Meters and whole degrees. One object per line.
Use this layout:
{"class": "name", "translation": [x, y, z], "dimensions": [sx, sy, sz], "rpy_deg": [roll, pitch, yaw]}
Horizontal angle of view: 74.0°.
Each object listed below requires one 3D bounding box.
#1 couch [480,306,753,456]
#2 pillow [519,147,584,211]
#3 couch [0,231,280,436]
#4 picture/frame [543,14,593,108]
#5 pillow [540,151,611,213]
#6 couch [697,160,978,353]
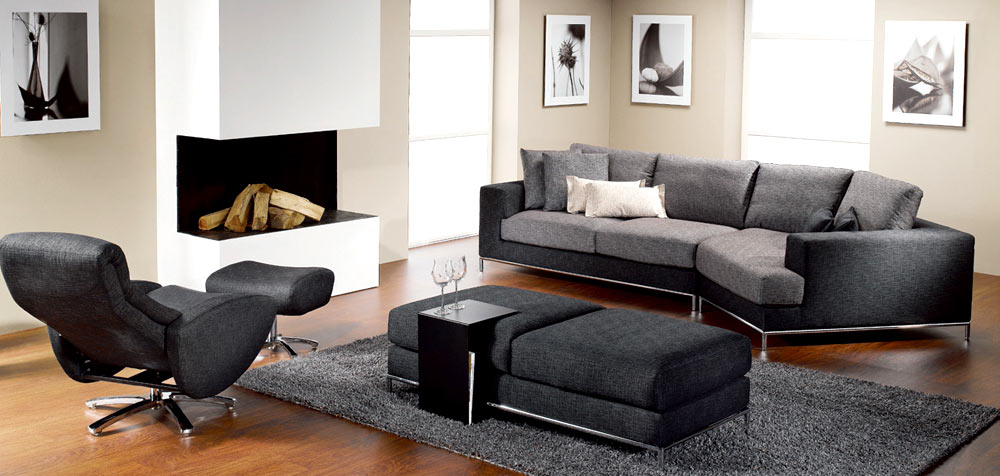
{"class": "couch", "translation": [1.027, 1.100, 5.443], "dimensions": [1.806, 0.723, 0.960], "rpy_deg": [7, 18, 25]}
{"class": "pillow", "translation": [0.677, -0.721, 8.368], "dimensions": [0.965, 0.745, 0.257], "rpy_deg": [-2, -3, 3]}
{"class": "couch", "translation": [-2.919, 0.548, 6.034], "dimensions": [1.698, 1.625, 2.150], "rpy_deg": [8, 12, 27]}
{"class": "picture/frame", "translation": [1.026, -2.679, 10.016], "dimensions": [1.034, 1.287, 0.319], "rpy_deg": [-17, 24, -42]}
{"class": "pillow", "translation": [0.939, -0.685, 8.307], "dimensions": [1.003, 0.736, 0.304], "rpy_deg": [0, -1, 1]}
{"class": "couch", "translation": [3.413, 0.191, 7.295], "dimensions": [2.561, 1.514, 2.487], "rpy_deg": [-3, 7, -19]}
